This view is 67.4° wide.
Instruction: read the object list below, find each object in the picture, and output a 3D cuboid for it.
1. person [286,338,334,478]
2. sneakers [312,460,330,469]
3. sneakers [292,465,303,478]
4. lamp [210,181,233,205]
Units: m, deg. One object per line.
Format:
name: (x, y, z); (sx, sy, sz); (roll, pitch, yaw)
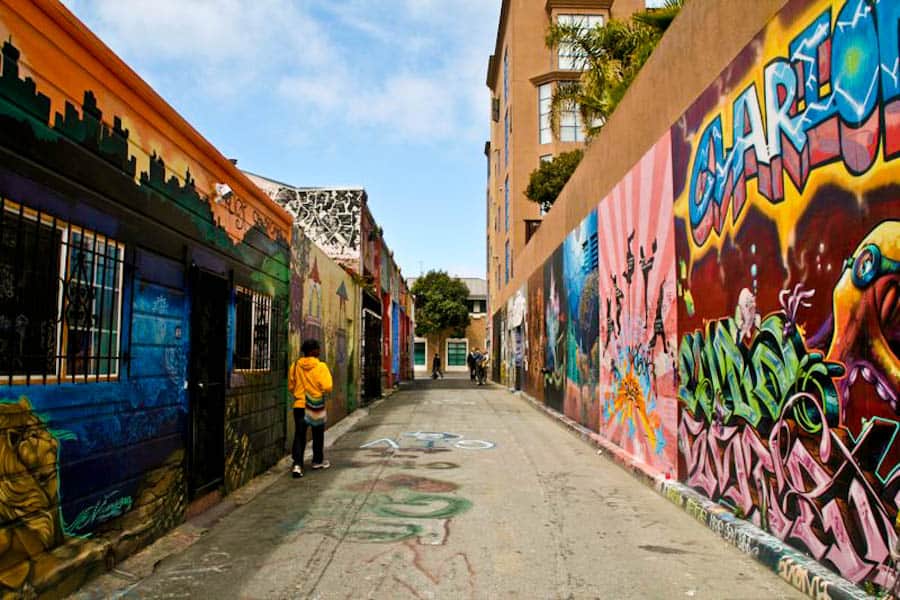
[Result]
person: (-2.154, 1.616, 10.471); (0.593, 1.952, 0.949); (-1, 0, -13)
sneakers: (-1.989, 2.562, 10.574); (0.108, 0.130, 0.251); (3, 3, 25)
sneakers: (-2.259, 2.534, 10.025); (0.091, 0.125, 0.264); (1, -18, -9)
lamp: (-2.958, -1.375, 8.860); (0.156, 0.257, 0.520); (-1, -1, -6)
